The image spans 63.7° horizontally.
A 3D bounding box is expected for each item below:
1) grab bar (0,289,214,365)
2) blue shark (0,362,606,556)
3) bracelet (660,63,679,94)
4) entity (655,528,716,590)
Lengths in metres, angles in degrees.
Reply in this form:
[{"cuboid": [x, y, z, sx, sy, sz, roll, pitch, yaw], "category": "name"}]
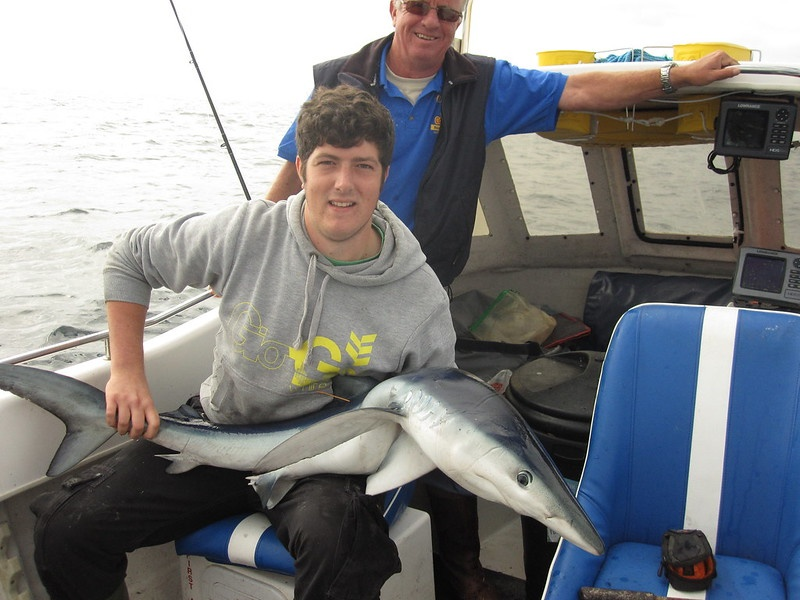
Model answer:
[{"cuboid": [-1.306, 0.121, 2.799, 0.874, 0.080, 0.100, -19, 31, -22], "category": "grab bar"}, {"cuboid": [-0.355, 0.256, 1.889, 1.720, 0.365, 0.663, 2, -21, 25], "category": "blue shark"}, {"cuboid": [0.981, -0.804, 2.372, 0.071, 0.095, 0.107, -2, 1, 35], "category": "bracelet"}, {"cuboid": [0.854, 0.760, 1.903, 0.145, 0.108, 0.154, 0, 16, 15], "category": "entity"}]
